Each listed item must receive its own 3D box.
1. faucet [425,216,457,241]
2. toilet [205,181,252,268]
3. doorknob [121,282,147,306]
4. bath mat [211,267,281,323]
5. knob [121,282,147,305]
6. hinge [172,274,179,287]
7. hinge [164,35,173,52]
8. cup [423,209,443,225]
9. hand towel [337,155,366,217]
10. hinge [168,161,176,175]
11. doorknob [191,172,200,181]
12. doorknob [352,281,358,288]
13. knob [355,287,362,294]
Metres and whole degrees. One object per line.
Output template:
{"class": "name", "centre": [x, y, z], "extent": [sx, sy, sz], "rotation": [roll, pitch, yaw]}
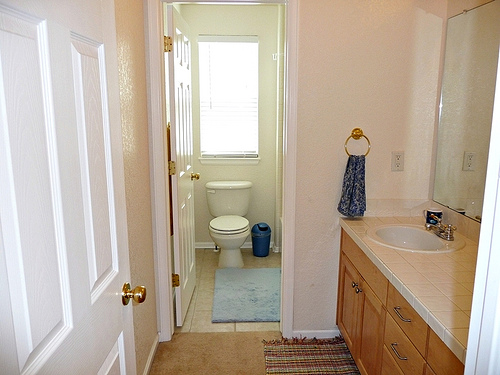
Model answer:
{"class": "faucet", "centre": [1.095, 0.227, 2.233], "extent": [0.074, 0.098, 0.247], "rotation": [-3, 12, 0]}
{"class": "toilet", "centre": [-0.219, 0.371, 3.937], "extent": [0.484, 0.776, 0.619], "rotation": [0, 13, -1]}
{"class": "doorknob", "centre": [-0.401, 0.356, 1.335], "extent": [0.064, 0.092, 0.081], "rotation": [-2, 1, 3]}
{"class": "bath mat", "centre": [-0.022, 0.906, 3.327], "extent": [0.611, 0.025, 0.909], "rotation": [0, 13, 0]}
{"class": "knob", "centre": [-0.400, 0.373, 1.327], "extent": [0.063, 0.078, 0.069], "rotation": [-7, -20, 15]}
{"class": "hinge", "centre": [-0.526, 0.657, 2.702], "extent": [0.063, 0.099, 0.070], "rotation": [0, 3, -5]}
{"class": "hinge", "centre": [-0.523, -0.921, 2.454], "extent": [0.055, 0.096, 0.016], "rotation": [-3, 13, -12]}
{"class": "cup", "centre": [1.128, 0.182, 2.375], "extent": [0.066, 0.084, 0.109], "rotation": [0, 5, -10]}
{"class": "hand towel", "centre": [0.662, -0.010, 2.457], "extent": [0.163, 0.385, 0.075], "rotation": [4, 14, 17]}
{"class": "hinge", "centre": [-0.526, -0.130, 2.589], "extent": [0.047, 0.096, 0.022], "rotation": [2, 13, 9]}
{"class": "doorknob", "centre": [-0.443, -0.094, 3.119], "extent": [0.068, 0.056, 0.072], "rotation": [1, 7, -3]}
{"class": "doorknob", "centre": [0.623, 0.576, 2.269], "extent": [0.030, 0.025, 0.058], "rotation": [-1, 35, 9]}
{"class": "knob", "centre": [0.625, 0.592, 2.202], "extent": [0.030, 0.021, 0.019], "rotation": [2, 20, -10]}
